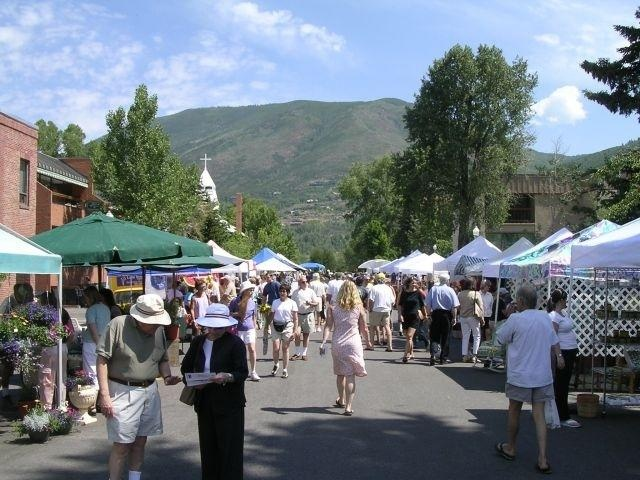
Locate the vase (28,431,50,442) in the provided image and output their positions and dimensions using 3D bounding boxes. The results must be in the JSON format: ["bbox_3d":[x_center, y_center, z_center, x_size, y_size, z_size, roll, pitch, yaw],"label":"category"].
[{"bbox_3d":[-4.328,2.992,11.028,0.285,0.193,0.222,0,2,-21],"label":"vase"}]

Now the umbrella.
[{"bbox_3d":[-3.811,-0.017,13.541,2.985,0.894,1.414,0,2,-24],"label":"umbrella"}]

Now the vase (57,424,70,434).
[{"bbox_3d":[-4.034,2.960,11.284,0.191,0.138,0.193,-6,-7,27],"label":"vase"}]

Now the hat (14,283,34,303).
[{"bbox_3d":[-5.886,1.065,14.250,0.265,0.320,0.281,0,-13,-15],"label":"hat"}]

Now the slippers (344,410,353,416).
[{"bbox_3d":[0.505,2.994,12.483,0.163,0.092,0.129,0,2,-7],"label":"slippers"}]

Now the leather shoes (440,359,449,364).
[{"bbox_3d":[3.200,3.126,18.441,0.213,0.066,0.047,-9,-8,-37],"label":"leather shoes"}]

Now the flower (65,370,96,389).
[{"bbox_3d":[-4.032,2.354,12.171,0.350,0.212,0.365,1,-2,17],"label":"flower"}]

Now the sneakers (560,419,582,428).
[{"bbox_3d":[4.250,3.104,12.131,0.277,0.120,0.131,0,-1,12],"label":"sneakers"}]

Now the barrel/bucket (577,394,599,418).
[{"bbox_3d":[4.814,2.972,12.930,0.361,0.299,0.350,0,-2,0],"label":"barrel/bucket"}]

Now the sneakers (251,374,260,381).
[{"bbox_3d":[-1.394,2.967,15.556,0.104,0.119,0.241,0,-5,-37],"label":"sneakers"}]

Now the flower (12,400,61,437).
[{"bbox_3d":[-4.378,2.781,11.228,0.536,0.386,0.577,1,-6,-1],"label":"flower"}]

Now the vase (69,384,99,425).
[{"bbox_3d":[-3.948,2.771,12.179,0.550,0.774,0.567,0,-5,-8],"label":"vase"}]

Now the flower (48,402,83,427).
[{"bbox_3d":[-4.054,2.803,11.352,0.341,0.206,0.353,3,-8,-6],"label":"flower"}]
